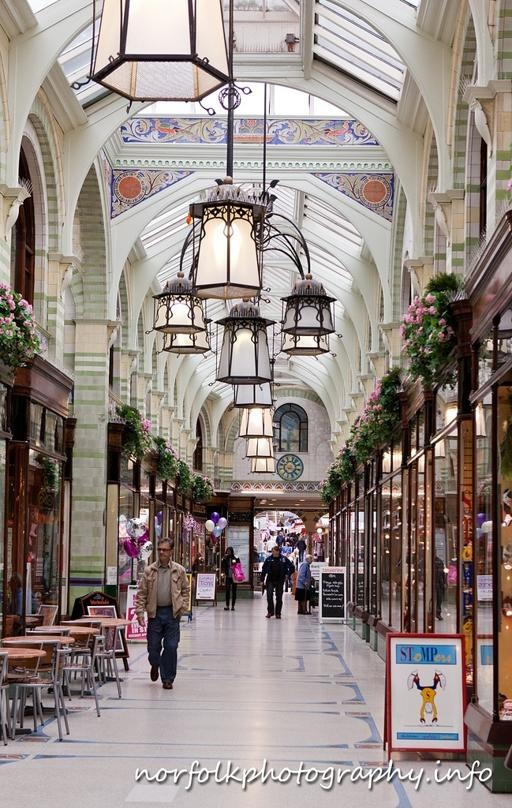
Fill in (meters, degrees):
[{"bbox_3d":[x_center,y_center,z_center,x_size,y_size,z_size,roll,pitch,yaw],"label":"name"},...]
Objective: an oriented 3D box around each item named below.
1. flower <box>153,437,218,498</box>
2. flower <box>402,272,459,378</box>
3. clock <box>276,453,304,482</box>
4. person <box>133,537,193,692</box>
[{"bbox_3d":[-2.519,2.034,27.610,0.597,1.107,2.988,-5,-28,17],"label":"flower"},{"bbox_3d":[1.566,-0.747,7.577,0.465,0.876,1.325,0,-11,3],"label":"flower"},{"bbox_3d":[1.696,3.201,43.277,0.903,1.071,0.107,-16,-16,-4],"label":"clock"},{"bbox_3d":[-1.096,2.439,10.120,0.623,1.660,1.049,1,-10,-6],"label":"person"}]
